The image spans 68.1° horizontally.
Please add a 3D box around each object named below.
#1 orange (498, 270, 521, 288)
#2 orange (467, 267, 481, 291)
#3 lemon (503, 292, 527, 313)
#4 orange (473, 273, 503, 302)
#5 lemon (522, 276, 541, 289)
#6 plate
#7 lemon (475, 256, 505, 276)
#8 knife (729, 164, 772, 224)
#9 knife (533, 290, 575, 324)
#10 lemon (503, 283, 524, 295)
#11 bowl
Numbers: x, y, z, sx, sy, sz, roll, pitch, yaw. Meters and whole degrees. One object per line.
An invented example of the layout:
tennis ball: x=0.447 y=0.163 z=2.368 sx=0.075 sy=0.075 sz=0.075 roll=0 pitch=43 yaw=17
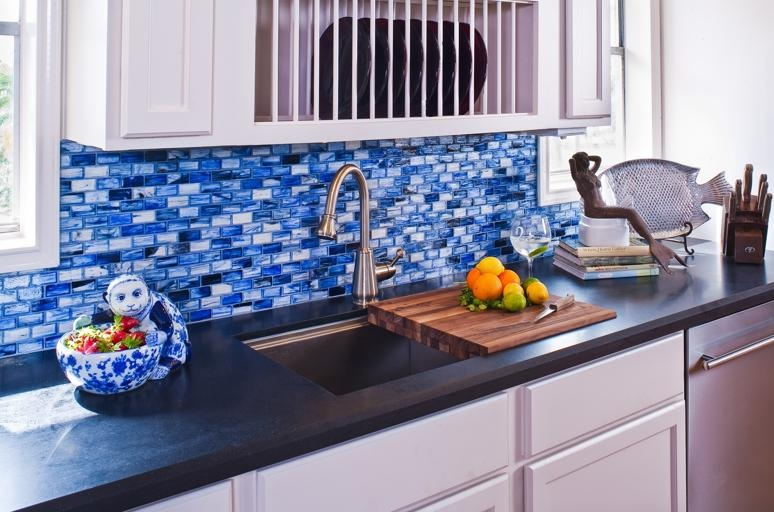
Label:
orange: x=0.403 y=0.083 z=1.885 sx=0.056 sy=0.053 sz=0.066 roll=13 pitch=-20 yaw=29
orange: x=0.285 y=0.076 z=1.884 sx=0.061 sy=0.067 sz=0.059 roll=6 pitch=24 yaw=12
lemon: x=0.392 y=0.145 z=1.767 sx=0.070 sy=0.050 sz=0.053 roll=-6 pitch=0 yaw=-10
orange: x=0.321 y=0.102 z=1.854 sx=0.092 sy=0.083 sz=0.088 roll=-2 pitch=2 yaw=-31
lemon: x=0.475 y=0.087 z=1.883 sx=0.043 sy=0.040 sz=0.043 roll=37 pitch=71 yaw=27
plate: x=0.053 y=-0.564 z=1.729 sx=0.422 sy=0.385 sz=0.070 roll=-8 pitch=27 yaw=-16
lemon: x=0.345 y=0.038 z=1.919 sx=0.084 sy=0.060 sz=0.061 roll=0 pitch=4 yaw=-3
knife: x=1.486 y=-0.253 z=2.356 sx=0.156 sy=0.234 sz=0.221 roll=-1 pitch=11 yaw=24
knife: x=0.530 y=0.146 z=1.798 sx=0.057 sy=0.032 sz=0.318 roll=11 pitch=16 yaw=39
lemon: x=0.403 y=0.103 z=1.825 sx=0.043 sy=0.040 sz=0.041 roll=20 pitch=-21 yaw=43
bowl: x=-0.680 y=0.243 z=1.424 sx=0.254 sy=0.112 sz=0.242 roll=8 pitch=20 yaw=-3
